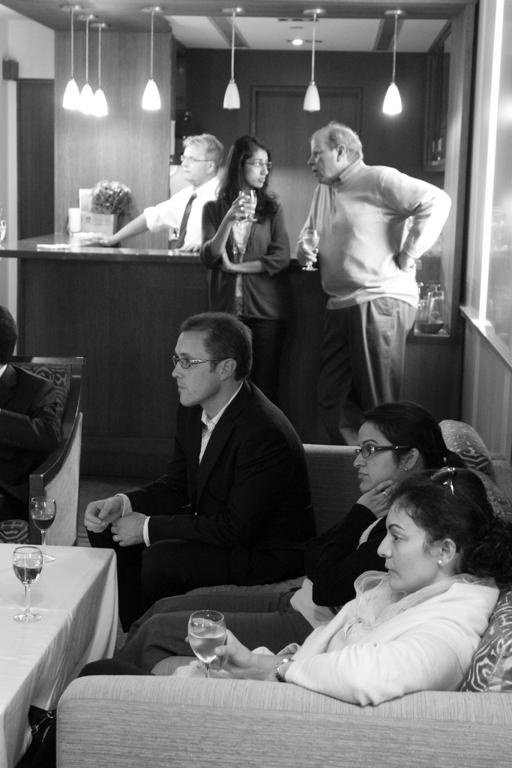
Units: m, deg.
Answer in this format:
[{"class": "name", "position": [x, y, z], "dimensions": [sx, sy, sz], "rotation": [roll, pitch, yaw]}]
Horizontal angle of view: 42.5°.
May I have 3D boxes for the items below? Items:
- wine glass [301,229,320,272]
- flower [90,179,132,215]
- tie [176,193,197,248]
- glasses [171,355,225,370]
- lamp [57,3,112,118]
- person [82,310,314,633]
[{"class": "wine glass", "position": [0.310, -0.778, 3.813], "dimensions": [0.104, 0.232, 0.281], "rotation": [1, 10, 5]}, {"class": "flower", "position": [-1.334, -1.719, 6.086], "dimensions": [0.322, 0.358, 0.321], "rotation": [1, 15, 5]}, {"class": "tie", "position": [-0.550, -1.305, 5.253], "dimensions": [0.155, 0.424, 0.247], "rotation": [-1, 10, -8]}, {"class": "glasses", "position": [-0.209, -0.070, 2.148], "dimensions": [0.182, 0.041, 0.057], "rotation": [6, 12, 29]}, {"class": "lamp", "position": [-1.542, -2.872, 5.946], "dimensions": [0.428, 0.855, 0.961], "rotation": [-3, 10, -16]}, {"class": "person", "position": [-0.177, 0.447, 2.245], "dimensions": [0.725, 1.314, 0.572], "rotation": [1, 1, -28]}]
